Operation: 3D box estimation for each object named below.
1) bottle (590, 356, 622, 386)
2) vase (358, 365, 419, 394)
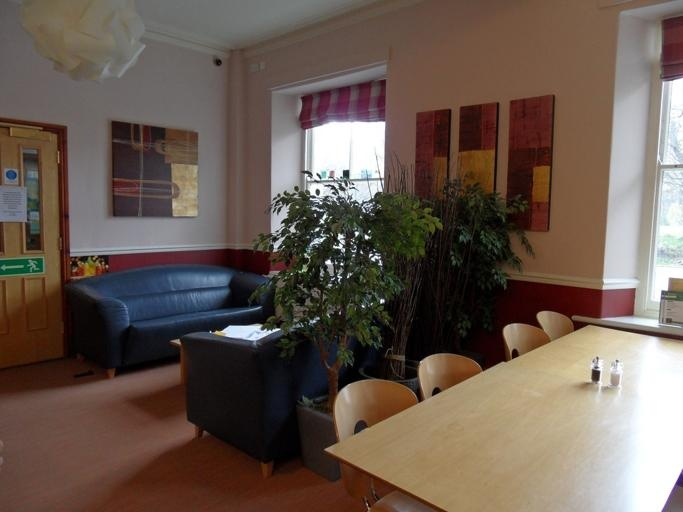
[{"bbox_3d":[1.608,0.702,2.822,0.046,0.134,0.131,2,-2,-38],"label":"bottle"},{"bbox_3d":[0.386,0.985,3.738,0.328,0.275,0.344,1,-1,-22],"label":"vase"}]
